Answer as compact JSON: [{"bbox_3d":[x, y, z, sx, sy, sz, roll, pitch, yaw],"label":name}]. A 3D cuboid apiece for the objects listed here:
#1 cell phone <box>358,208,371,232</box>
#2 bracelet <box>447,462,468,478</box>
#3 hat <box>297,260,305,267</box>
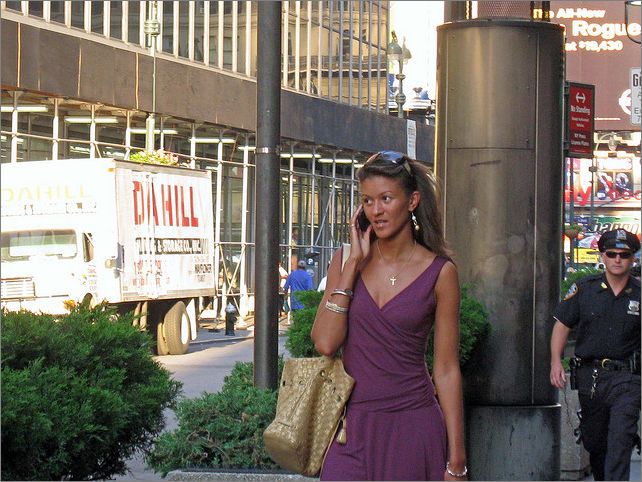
[{"bbox_3d":[0.267,-0.129,7.270,0.048,0.134,0.096,-3,2,13],"label":"cell phone"},{"bbox_3d":[0.851,1.439,6.980,0.162,0.086,0.076,-3,-3,-43],"label":"bracelet"},{"bbox_3d":[-0.476,0.552,26.089,0.134,0.177,0.175,0,15,-9],"label":"hat"}]
